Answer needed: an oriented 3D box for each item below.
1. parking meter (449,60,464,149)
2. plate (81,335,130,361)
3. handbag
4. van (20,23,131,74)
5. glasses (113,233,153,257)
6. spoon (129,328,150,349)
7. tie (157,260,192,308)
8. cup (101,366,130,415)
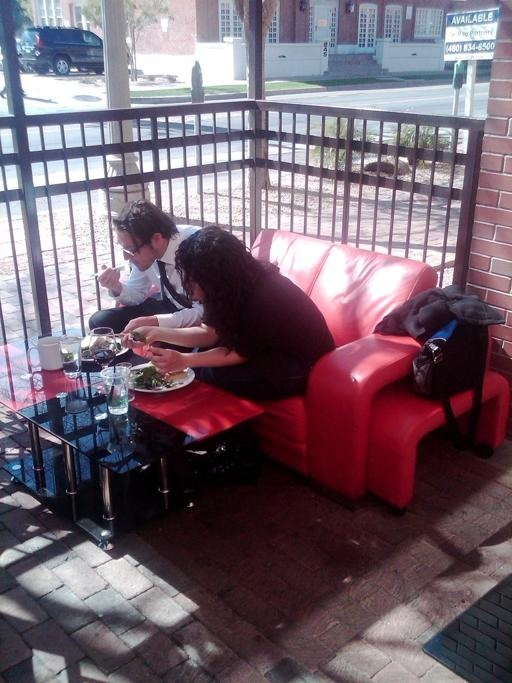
[{"bbox_3d":[4.541,-5.582,11.825,0.234,1.498,0.217,-10,54,8],"label":"parking meter"},{"bbox_3d":[-0.695,0.049,2.315,0.159,0.117,0.163,-2,8,-5],"label":"plate"},{"bbox_3d":[0.806,0.059,2.219,0.282,0.248,0.150,-24,37,-30],"label":"handbag"},{"bbox_3d":[-9.021,-13.366,24.167,3.709,1.784,2.852,-2,14,-7],"label":"van"},{"bbox_3d":[-0.656,-0.493,2.721,0.134,0.037,0.126,4,18,-47],"label":"glasses"},{"bbox_3d":[-0.537,-0.021,2.376,0.089,0.064,0.030,34,59,10],"label":"spoon"},{"bbox_3d":[-0.427,-0.357,3.011,0.074,0.287,0.211,-33,17,-22],"label":"tie"},{"bbox_3d":[-0.528,0.180,1.989,0.092,0.184,0.139,-4,15,-14],"label":"cup"}]
